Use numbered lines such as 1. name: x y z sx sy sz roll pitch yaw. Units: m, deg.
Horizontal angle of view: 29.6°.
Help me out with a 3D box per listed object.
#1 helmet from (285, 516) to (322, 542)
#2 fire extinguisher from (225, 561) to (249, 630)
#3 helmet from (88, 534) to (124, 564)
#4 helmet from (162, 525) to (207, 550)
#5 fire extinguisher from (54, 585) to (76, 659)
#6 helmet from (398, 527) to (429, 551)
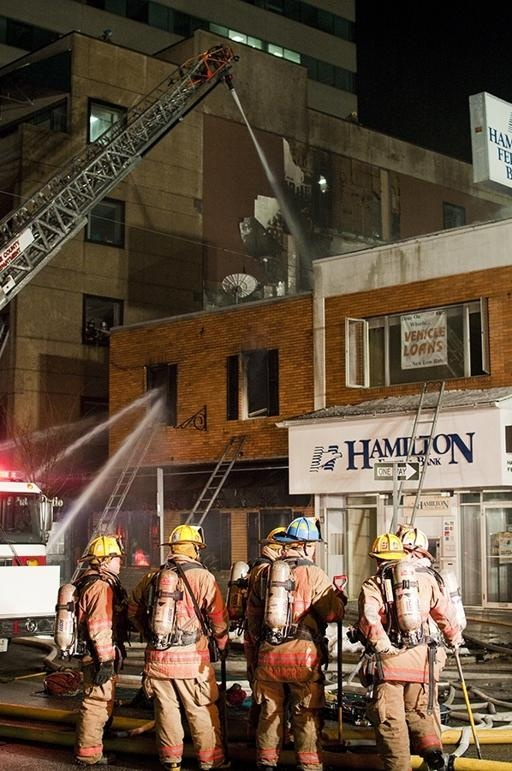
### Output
1. helmet: 0.361 1.068 7.200 0.185 0.129 0.236 -2 -11 12
2. fire extinguisher: -0.140 1.648 7.772 0.116 0.460 0.152 11 -18 -17
3. helmet: -1.199 1.315 7.797 0.185 0.132 0.264 1 3 38
4. helmet: -0.480 1.154 7.423 0.299 0.182 0.372 -6 -10 41
5. fire extinguisher: -1.488 1.856 7.642 0.169 0.568 0.305 3 -7 -11
6. helmet: 1.169 1.140 7.195 0.165 0.127 0.238 7 3 29
